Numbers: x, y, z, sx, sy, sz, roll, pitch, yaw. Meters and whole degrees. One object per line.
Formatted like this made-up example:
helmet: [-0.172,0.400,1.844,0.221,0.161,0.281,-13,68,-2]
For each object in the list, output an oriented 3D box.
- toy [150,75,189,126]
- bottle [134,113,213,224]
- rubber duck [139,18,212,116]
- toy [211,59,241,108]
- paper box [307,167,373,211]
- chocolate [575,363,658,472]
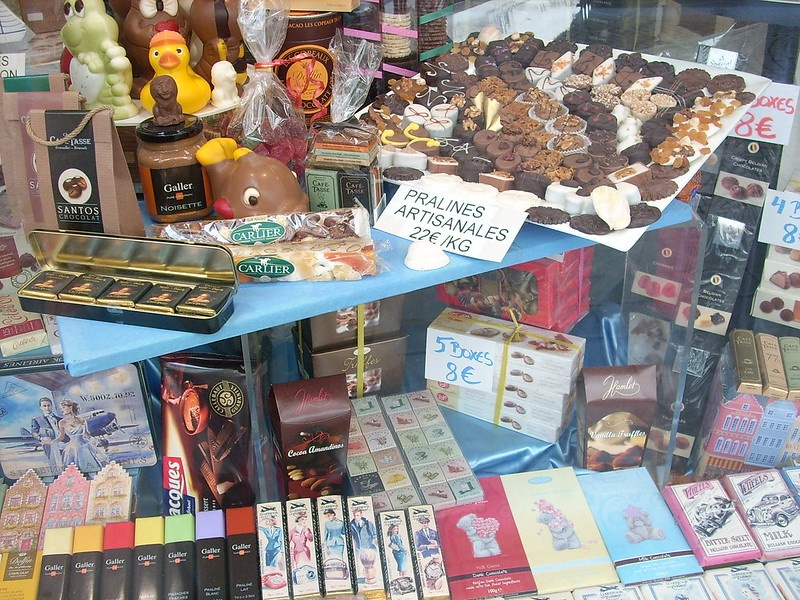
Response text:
toy: [-0.583,-0.499,1.459,0.083,0.109,0.081,3,26,8]
bottle: [-0.603,-0.354,1.570,0.223,0.255,0.221,5,33,1]
rubber duck: [-0.646,-0.654,1.662,0.208,0.225,0.201,-13,36,-19]
toy: [-0.516,-0.638,1.713,0.089,0.121,0.096,12,39,4]
paper box: [-0.164,-0.283,1.562,0.169,0.112,0.159,1,3,-9]
chocolate: [0.682,0.394,1.883,0.235,0.411,0.148,-3,26,3]
